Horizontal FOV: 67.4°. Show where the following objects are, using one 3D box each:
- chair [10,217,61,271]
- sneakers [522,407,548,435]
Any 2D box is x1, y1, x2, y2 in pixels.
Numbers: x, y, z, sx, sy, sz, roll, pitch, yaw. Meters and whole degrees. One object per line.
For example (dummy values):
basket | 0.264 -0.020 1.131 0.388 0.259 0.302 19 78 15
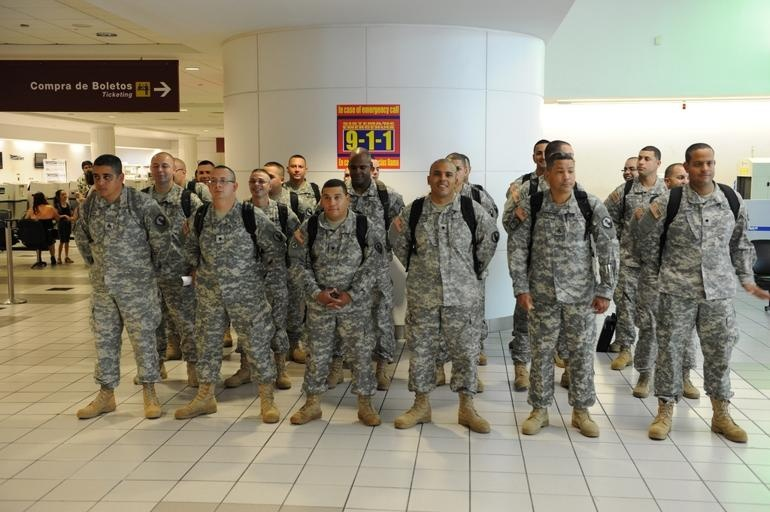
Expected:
chair | -7.823 -0.353 12.938 0.698 1.142 1.539 -7 14 -26
sneakers | 1.283 1.406 4.872 0.128 0.206 0.347 -3 -7 39
